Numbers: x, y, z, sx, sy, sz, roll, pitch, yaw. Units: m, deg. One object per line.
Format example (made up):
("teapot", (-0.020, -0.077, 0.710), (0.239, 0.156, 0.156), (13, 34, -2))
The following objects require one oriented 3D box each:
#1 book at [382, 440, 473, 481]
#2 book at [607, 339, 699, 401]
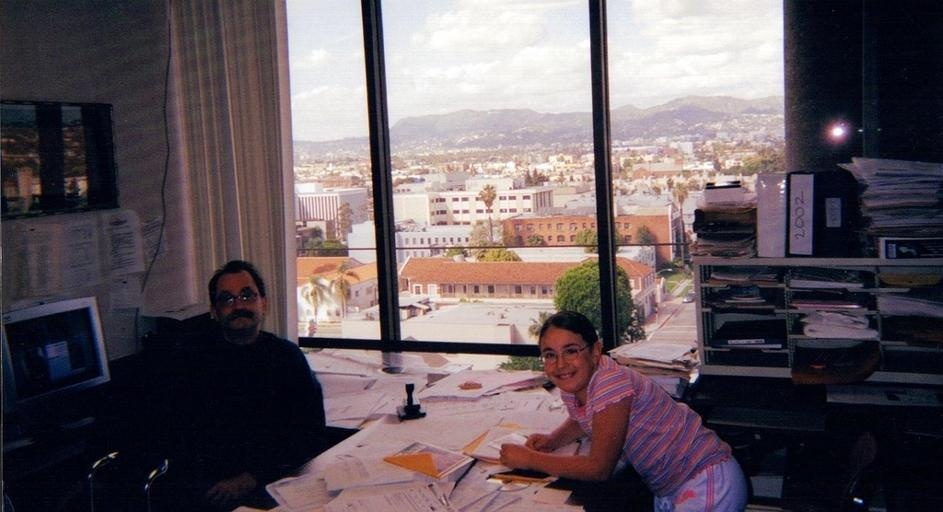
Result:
("book", (-0.224, 1.060, 3.607), (0.407, 0.108, 0.224), (0, 5, 24))
("book", (1.098, 0.687, 4.211), (0.417, 0.109, 0.375), (2, 14, 17))
